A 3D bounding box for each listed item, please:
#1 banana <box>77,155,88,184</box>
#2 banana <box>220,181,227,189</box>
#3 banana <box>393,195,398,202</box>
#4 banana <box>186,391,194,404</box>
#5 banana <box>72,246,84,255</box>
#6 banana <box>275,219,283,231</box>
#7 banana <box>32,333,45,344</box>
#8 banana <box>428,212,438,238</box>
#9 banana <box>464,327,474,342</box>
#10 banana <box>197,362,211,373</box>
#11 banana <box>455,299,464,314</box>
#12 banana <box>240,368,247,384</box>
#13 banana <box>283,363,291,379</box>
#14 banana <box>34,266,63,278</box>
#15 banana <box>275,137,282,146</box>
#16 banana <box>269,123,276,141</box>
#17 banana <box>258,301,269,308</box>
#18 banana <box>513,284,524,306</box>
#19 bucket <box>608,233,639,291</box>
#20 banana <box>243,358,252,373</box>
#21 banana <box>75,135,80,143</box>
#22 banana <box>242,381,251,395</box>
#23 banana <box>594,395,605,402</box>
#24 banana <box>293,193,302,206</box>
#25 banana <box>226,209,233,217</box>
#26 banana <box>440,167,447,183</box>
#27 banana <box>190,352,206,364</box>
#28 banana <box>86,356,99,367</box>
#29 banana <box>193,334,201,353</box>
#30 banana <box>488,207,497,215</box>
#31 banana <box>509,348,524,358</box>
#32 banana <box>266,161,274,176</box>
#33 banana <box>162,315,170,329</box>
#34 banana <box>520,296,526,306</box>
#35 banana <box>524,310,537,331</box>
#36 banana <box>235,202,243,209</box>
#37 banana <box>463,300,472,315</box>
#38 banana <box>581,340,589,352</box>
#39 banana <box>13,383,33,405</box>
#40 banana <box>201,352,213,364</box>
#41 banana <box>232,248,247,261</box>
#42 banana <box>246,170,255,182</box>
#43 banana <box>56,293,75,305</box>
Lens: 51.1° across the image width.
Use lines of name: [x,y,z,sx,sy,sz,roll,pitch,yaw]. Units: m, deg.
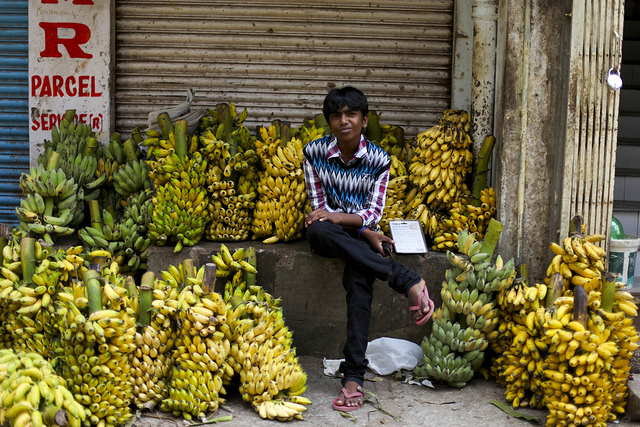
banana: [-2.419,-0.461,6.897,0.054,0.295,0.101,0,-27,7]
banana: [-0.944,-0.284,6.521,0.068,0.069,0.050,2,2,-10]
banana: [0.747,-0.163,6.730,0.057,0.047,0.079,-3,1,3]
banana: [-1.064,1.504,5.471,0.040,0.083,0.044,-4,2,8]
banana: [-2.170,0.323,6.008,0.069,0.082,0.303,2,2,-17]
banana: [-0.404,0.105,6.548,0.031,0.117,0.040,-7,29,35]
banana: [-2.350,1.039,5.617,0.145,0.053,0.042,25,-6,23]
banana: [1.123,0.108,6.718,0.064,0.270,0.085,0,-13,12]
banana: [1.311,1.066,5.992,0.045,0.181,0.060,23,-3,13]
banana: [-0.969,1.276,5.553,0.099,0.078,0.025,2,2,-13]
banana: [1.232,0.825,5.959,0.033,0.111,0.054,-1,6,-36]
banana: [-0.651,1.374,5.633,0.045,0.116,0.051,-5,2,-45]
banana: [-0.283,1.326,5.646,0.025,0.100,0.031,26,-24,-25]
banana: [-2.318,0.488,5.630,0.299,0.077,0.132,4,2,27]
banana: [-0.421,-0.732,6.704,0.051,0.091,0.188,2,2,4]
banana: [-0.490,-0.839,6.780,0.041,0.174,0.055,-2,7,5]
banana: [-0.496,0.789,5.827,0.075,0.048,0.124,3,2,6]
banana: [1.768,0.730,5.996,0.051,0.212,0.070,17,-29,9]
bucket: [2.856,0.469,6.334,0.220,0.407,0.498,4,2,39]
banana: [-0.616,1.274,5.617,0.063,0.098,0.056,-1,-4,1]
banana: [-2.583,-0.816,7.141,0.032,0.079,0.066,1,2,-22]
banana: [-0.630,1.468,5.626,0.043,0.128,0.034,0,31,4]
banana: [2.305,1.532,5.532,0.101,0.045,0.036,2,2,-24]
banana: [-0.219,-0.150,6.558,0.037,0.128,0.050,28,11,5]
banana: [-0.895,-0.012,6.575,0.052,0.063,0.080,0,-1,-3]
banana: [1.223,-0.392,6.671,0.046,0.150,0.039,6,-22,-10]
banana: [-1.024,1.198,5.548,0.134,0.070,0.043,45,2,-32]
banana: [-1.806,1.180,5.322,0.050,0.061,0.098,-19,5,-4]
banana: [-1.029,1.075,5.547,0.035,0.127,0.038,-2,-4,6]
banana: [1.674,-0.026,6.497,0.046,0.080,0.106,1,2,-29]
banana: [1.726,1.220,5.940,0.147,0.041,0.049,43,4,6]
banana: [-0.488,-0.443,6.545,0.046,0.151,0.037,-4,3,-8]
banana: [-1.288,0.912,5.613,0.051,0.105,0.033,6,-12,-4]
banana: [1.789,0.783,5.938,0.033,0.062,0.016,10,3,25]
banana: [1.829,0.918,5.843,0.048,0.195,0.063,4,-27,40]
banana: [-0.794,-0.085,6.563,0.063,0.063,0.032,1,2,-45]
banana: [1.305,0.837,5.954,0.054,0.115,0.036,11,10,-1]
banana: [2.162,1.087,5.498,0.039,0.117,0.028,-1,6,-10]
banana: [-2.304,1.393,5.175,0.123,0.146,0.051,1,2,-33]
banana: [-0.944,1.204,5.545,0.047,0.098,0.032,-39,1,-6]
banana: [-0.753,0.375,6.244,0.139,0.072,0.048,-35,24,15]
banana: [-0.705,-0.391,6.692,0.075,0.101,0.270,14,0,-3]
banana: [-2.050,0.676,5.403,0.180,0.059,0.065,14,-13,29]
